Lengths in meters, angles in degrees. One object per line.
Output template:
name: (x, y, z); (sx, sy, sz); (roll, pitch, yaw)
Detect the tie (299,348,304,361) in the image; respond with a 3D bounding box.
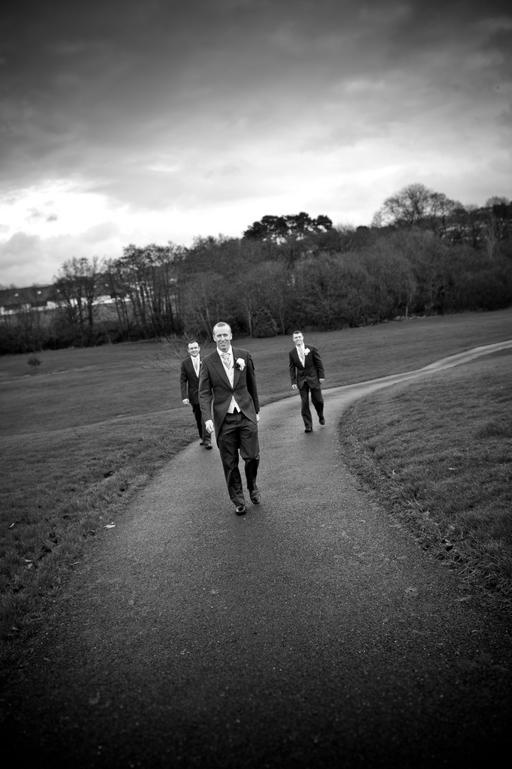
tie: (1.074, -0.661, 11.156); (0.131, 0.334, 0.099); (-4, 3, 4)

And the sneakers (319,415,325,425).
sneakers: (1.584, 0.891, 11.503); (0.076, 0.283, 0.102); (-8, -20, 19)

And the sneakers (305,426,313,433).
sneakers: (1.210, 1.056, 10.899); (0.177, 0.092, 0.369); (-6, 4, 5)

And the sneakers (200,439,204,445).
sneakers: (-1.266, 1.384, 11.189); (0.065, 0.188, 0.230); (0, -7, -3)

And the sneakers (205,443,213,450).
sneakers: (-1.060, 1.402, 10.701); (0.071, 0.127, 0.227); (2, 2, -2)

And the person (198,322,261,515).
person: (-0.357, 0.415, 6.431); (0.784, 2.468, 0.696); (-4, 3, -4)

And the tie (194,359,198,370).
tie: (-1.375, -0.421, 11.021); (0.113, 0.205, 0.051); (-5, -1, -3)

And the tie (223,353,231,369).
tie: (-0.385, -0.307, 6.405); (0.119, 0.188, 0.051); (-23, -12, -1)
